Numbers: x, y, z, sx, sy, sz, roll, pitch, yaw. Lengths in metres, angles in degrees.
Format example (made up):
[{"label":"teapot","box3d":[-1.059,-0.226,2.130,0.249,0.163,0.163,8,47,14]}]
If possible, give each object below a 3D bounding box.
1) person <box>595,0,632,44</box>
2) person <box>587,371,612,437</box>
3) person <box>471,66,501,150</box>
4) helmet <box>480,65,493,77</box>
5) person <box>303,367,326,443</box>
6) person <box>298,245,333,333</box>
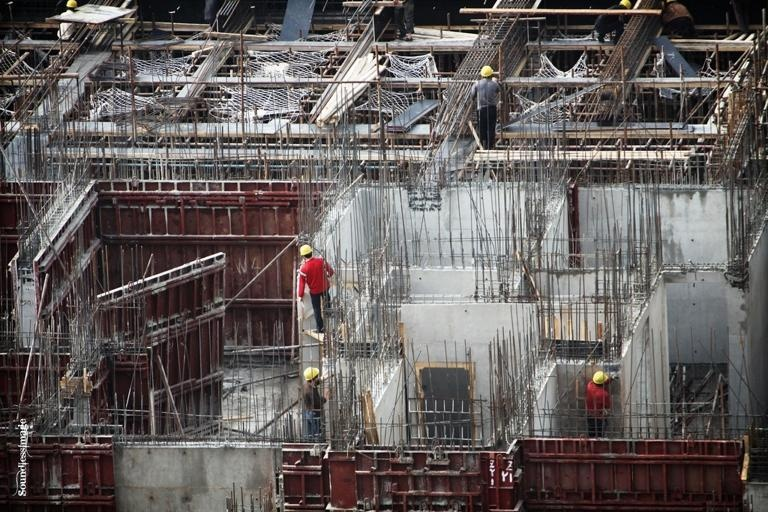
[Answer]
[{"label":"person","box3d":[6.418,-6.484,60.798,1.049,0.975,2.706,-2,-9,5]},{"label":"person","box3d":[4.890,3.438,49.483,0.570,1.609,1.133,-1,-8,6]},{"label":"person","box3d":[2.670,-3.798,56.471,0.701,2.097,1.247,-1,-8,2]},{"label":"helmet","box3d":[2.687,-4.715,56.479,0.282,0.230,0.423,0,19,7]},{"label":"person","box3d":[-1.585,3.489,49.380,0.527,1.754,1.564,0,-8,-2]},{"label":"person","box3d":[-1.654,0.859,52.593,0.824,2.173,0.905,0,-8,-2]}]
